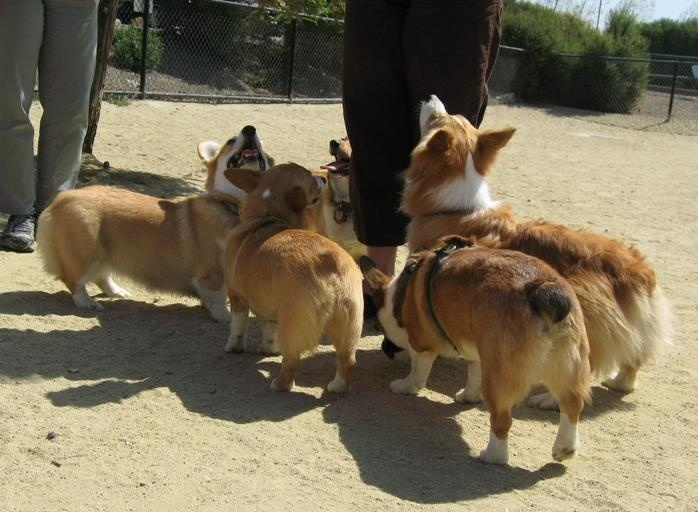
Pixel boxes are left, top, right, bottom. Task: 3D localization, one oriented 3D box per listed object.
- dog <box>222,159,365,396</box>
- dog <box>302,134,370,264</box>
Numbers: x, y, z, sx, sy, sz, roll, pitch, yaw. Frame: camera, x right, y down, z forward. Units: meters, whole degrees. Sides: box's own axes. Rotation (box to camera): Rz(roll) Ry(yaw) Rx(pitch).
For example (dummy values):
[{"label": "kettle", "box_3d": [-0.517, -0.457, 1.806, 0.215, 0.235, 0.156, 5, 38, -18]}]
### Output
[{"label": "dog", "box_3d": [-0.430, 0.142, 6.445, 0.801, 1.444, 1.873, 0, 12, -27]}, {"label": "dog", "box_3d": [-0.147, -0.439, 7.259, 0.344, 1.124, 0.541, -5, 14, -21]}]
